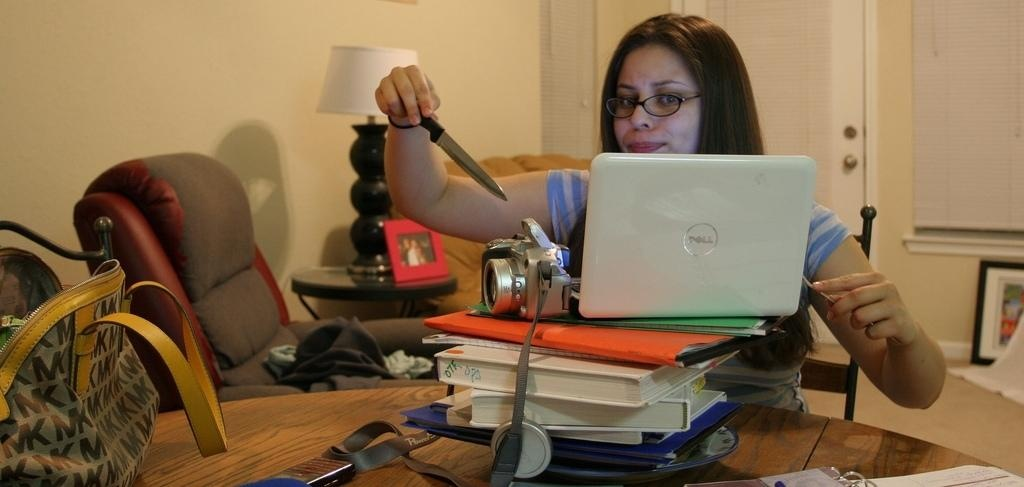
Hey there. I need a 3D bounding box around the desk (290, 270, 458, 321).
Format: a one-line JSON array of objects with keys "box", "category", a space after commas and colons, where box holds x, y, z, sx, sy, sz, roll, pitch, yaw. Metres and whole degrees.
[{"box": [-0.836, 0.254, 4.087, 0.557, 0.309, 0.536, 0, 7, -31], "category": "desk"}]

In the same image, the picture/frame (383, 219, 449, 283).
[{"box": [-0.587, 0.038, 4.239, 0.022, 0.290, 0.382, -12, -2, 41], "category": "picture/frame"}]

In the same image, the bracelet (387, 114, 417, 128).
[{"box": [-0.410, -0.432, 2.542, 0.083, 0.017, 0.079, 1, -8, 38], "category": "bracelet"}]

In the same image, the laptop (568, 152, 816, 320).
[{"box": [0.585, -0.023, 2.464, 0.806, 0.467, 0.531, 1, 7, -2], "category": "laptop"}]

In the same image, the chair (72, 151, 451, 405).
[{"box": [-1.248, 0.104, 3.480, 1.668, 1.251, 1.123, -2, 8, 8], "category": "chair"}]

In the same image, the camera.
[{"box": [0.042, 0.073, 2.360, 0.295, 0.258, 0.373, -4, 14, -18], "category": "camera"}]
